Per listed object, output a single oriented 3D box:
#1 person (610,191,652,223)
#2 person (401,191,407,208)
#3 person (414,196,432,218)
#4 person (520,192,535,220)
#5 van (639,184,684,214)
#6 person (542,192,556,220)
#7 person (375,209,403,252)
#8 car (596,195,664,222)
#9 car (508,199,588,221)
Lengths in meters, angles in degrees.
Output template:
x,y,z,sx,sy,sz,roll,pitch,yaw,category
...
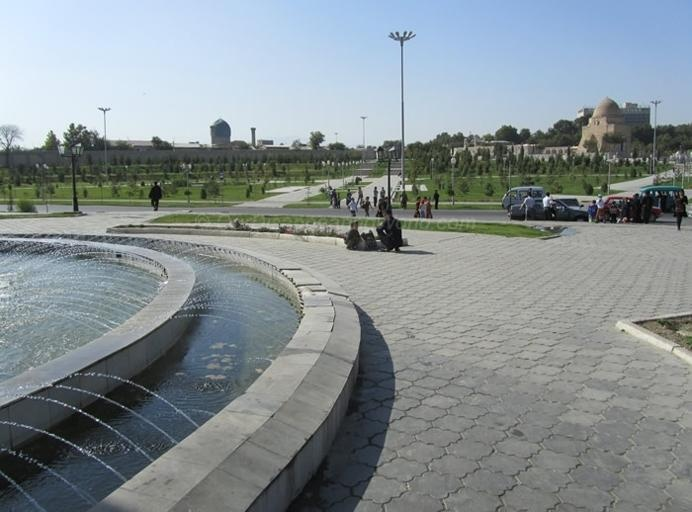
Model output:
x,y,z,sx,sy,sz,roll,pitch,yaw,category
10.872,-1.827,22.827,1.722,1.079,1.051,-3,12,9,person
2.882,-2.808,29.823,0.270,0.870,0.604,-2,14,-5,person
3.040,-1.909,23.680,0.658,0.812,1.827,1,15,6,person
7.222,-1.948,23.841,0.546,0.951,0.863,3,15,15,person
12.927,-2.383,24.905,1.658,1.004,1.142,-3,13,8,van
8.095,-1.965,23.886,0.536,0.933,0.816,4,15,19,person
1.049,-0.647,14.140,0.593,1.027,0.703,1,14,5,person
10.898,-1.820,23.158,2.286,1.098,1.330,-1,9,12,car
8.170,-1.819,23.954,2.203,0.847,1.367,-1,9,9,car
